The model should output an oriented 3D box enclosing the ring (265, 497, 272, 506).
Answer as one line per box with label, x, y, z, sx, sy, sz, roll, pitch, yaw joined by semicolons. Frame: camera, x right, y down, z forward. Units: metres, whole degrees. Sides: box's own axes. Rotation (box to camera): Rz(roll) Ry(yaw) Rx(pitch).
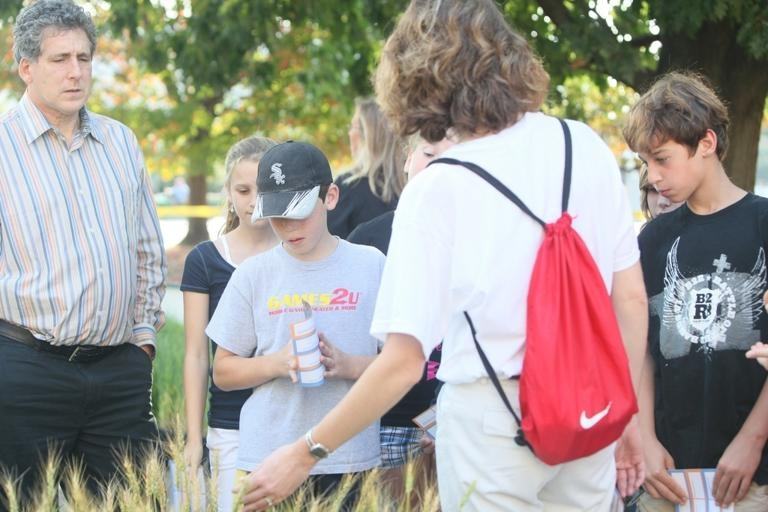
ring;-0.613;1.312;5.922;0.012;0.041;0.037;-15;19;-32
